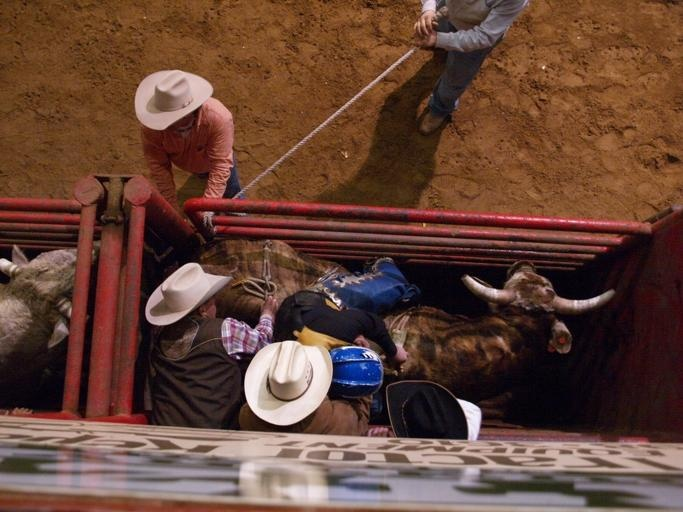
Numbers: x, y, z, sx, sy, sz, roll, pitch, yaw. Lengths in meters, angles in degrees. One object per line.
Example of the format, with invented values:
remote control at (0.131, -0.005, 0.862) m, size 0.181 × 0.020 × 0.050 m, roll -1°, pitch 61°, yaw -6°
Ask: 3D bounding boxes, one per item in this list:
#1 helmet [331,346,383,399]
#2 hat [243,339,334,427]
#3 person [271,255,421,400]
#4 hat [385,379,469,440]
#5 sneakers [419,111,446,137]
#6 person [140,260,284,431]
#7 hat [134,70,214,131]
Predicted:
helmet at (0.124, 1.047, 8.660) m, size 0.574 × 0.356 × 0.429 m, roll -6°, pitch 9°, yaw -11°
hat at (-0.470, 1.106, 8.351) m, size 0.769 × 0.362 × 0.761 m, roll 6°, pitch 57°, yaw -2°
person at (-0.019, 0.541, 9.514) m, size 1.378 × 0.623 × 1.815 m, roll 10°, pitch 14°, yaw 9°
hat at (0.803, 1.416, 8.691) m, size 0.764 × 0.205 × 0.583 m, roll 7°, pitch 57°, yaw -1°
sneakers at (1.079, -1.573, 11.222) m, size 0.186 × 0.395 × 0.157 m, roll 58°, pitch 28°, yaw -9°
person at (-1.240, 1.113, 9.261) m, size 1.104 × 1.824 × 1.402 m, roll 13°, pitch 18°, yaw 43°
hat at (-1.650, -1.551, 9.254) m, size 0.747 × 0.534 × 0.655 m, roll -3°, pitch 59°, yaw -8°
